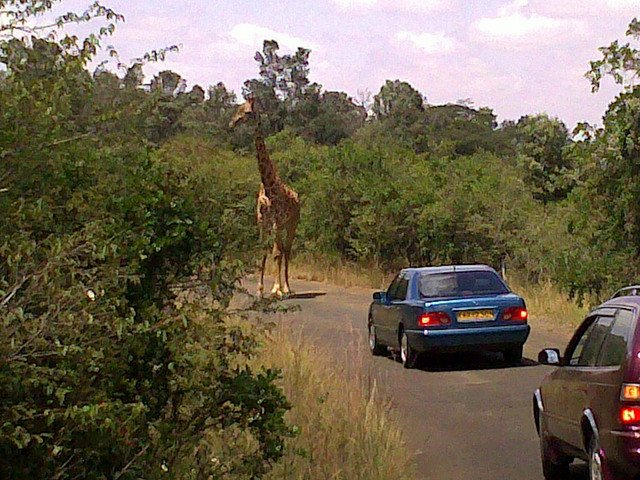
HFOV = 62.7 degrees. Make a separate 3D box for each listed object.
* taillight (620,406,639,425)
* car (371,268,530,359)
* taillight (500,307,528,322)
[{"bbox_3d":[2.463,1.382,4.175,0.136,0.144,0.031,14,1,37],"label":"taillight"},{"bbox_3d":[2.481,1.251,11.650,1.638,1.278,3.146,0,0,-14],"label":"car"},{"bbox_3d":[3.916,1.468,10.547,0.408,0.206,0.282,-2,-3,-11],"label":"taillight"}]
